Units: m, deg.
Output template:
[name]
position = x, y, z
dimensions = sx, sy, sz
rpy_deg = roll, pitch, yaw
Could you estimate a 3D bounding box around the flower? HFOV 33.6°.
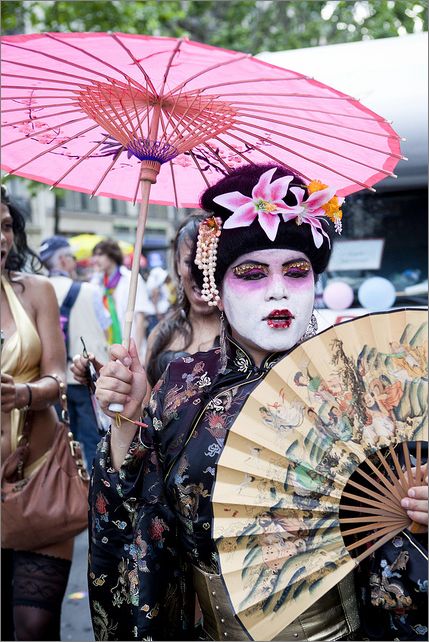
[flower]
position = 0.185, -0.333, 2.084
dimensions = 0.395, 0.139, 0.385
rpy_deg = 7, -7, 12
